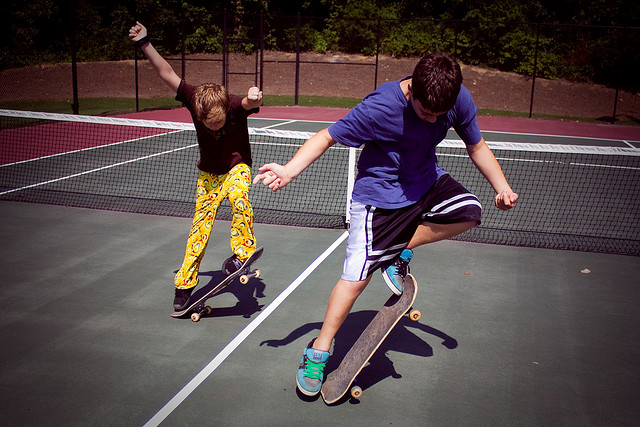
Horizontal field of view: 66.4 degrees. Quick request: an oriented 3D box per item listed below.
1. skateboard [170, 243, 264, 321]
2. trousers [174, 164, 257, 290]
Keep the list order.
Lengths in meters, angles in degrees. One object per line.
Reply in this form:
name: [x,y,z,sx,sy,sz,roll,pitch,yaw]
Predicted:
skateboard: [-1.155,0.817,5.546,0.163,0.921,0.226,46,-4,27]
trousers: [-1.125,0.123,5.372,0.836,1.305,0.564,1,12,-9]
